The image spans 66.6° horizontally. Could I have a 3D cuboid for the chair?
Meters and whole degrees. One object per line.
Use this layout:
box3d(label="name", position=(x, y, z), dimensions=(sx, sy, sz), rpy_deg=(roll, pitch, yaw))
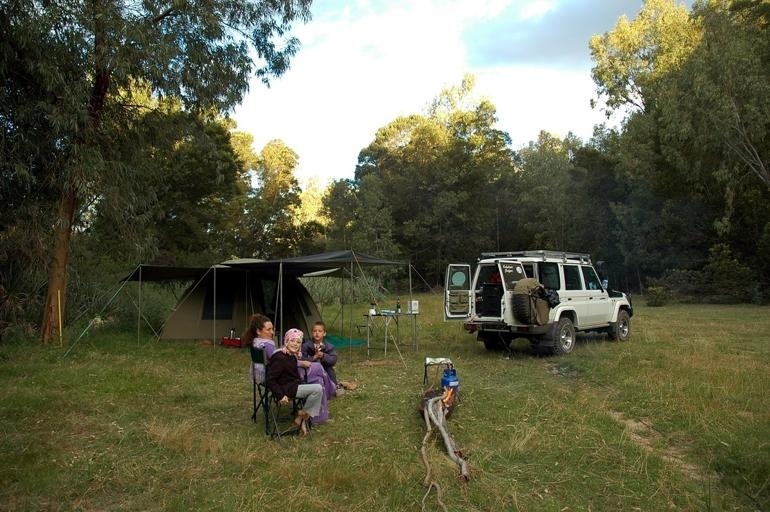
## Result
box3d(label="chair", position=(-2.140, 2.460, 12.125), dimensions=(0.890, 1.994, 0.902), rpy_deg=(-1, -1, 31))

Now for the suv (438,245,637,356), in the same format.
box3d(label="suv", position=(4.422, 1.330, 18.413), dimensions=(5.513, 2.850, 2.417), rpy_deg=(0, 0, 7))

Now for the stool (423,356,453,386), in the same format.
box3d(label="stool", position=(1.277, 2.788, 14.028), dimensions=(0.917, 0.763, 0.681), rpy_deg=(-1, -5, 1))

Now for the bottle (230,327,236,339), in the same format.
box3d(label="bottle", position=(-4.750, 2.368, 18.233), dimensions=(0.182, 0.349, 0.248), rpy_deg=(1, -7, -16))

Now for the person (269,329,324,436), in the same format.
box3d(label="person", position=(-1.826, 2.471, 12.004), dimensions=(0.773, 2.200, 0.991), rpy_deg=(0, 0, -42))
